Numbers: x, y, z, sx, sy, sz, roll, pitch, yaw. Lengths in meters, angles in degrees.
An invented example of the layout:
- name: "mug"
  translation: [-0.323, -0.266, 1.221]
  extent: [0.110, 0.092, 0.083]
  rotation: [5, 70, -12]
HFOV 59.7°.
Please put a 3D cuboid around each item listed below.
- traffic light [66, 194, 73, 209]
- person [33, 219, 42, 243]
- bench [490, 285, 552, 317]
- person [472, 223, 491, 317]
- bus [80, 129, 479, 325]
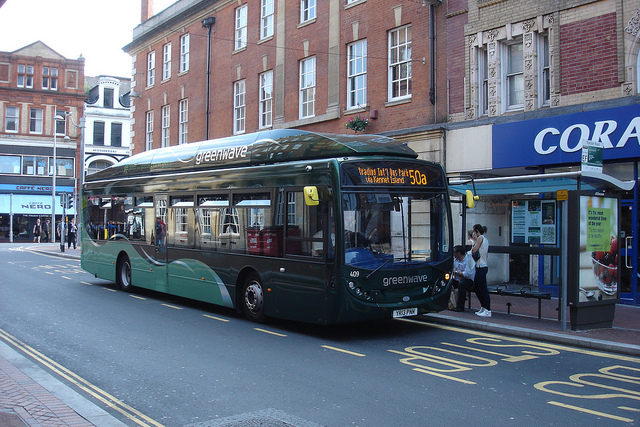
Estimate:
- name: "traffic light"
  translation: [-17.394, -0.836, 38.728]
  extent: [0.296, 0.966, 1.254]
  rotation: [-1, 4, -24]
- name: "person"
  translation: [-25.896, 1.616, 51.380]
  extent: [0.689, 1.991, 1.568]
  rotation: [-2, 5, -27]
- name: "bench"
  translation: [4.986, 2.212, 13.810]
  extent: [0.994, 0.713, 1.445]
  rotation: [-2, 5, -31]
- name: "person"
  translation: [4.032, 1.408, 13.953]
  extent: [0.480, 2.232, 0.724]
  rotation: [2, 4, 16]
- name: "bus"
  translation: [-2.982, 0.218, 16.340]
  extent: [13.748, 4.905, 3.246]
  rotation: [4, 5, 43]
